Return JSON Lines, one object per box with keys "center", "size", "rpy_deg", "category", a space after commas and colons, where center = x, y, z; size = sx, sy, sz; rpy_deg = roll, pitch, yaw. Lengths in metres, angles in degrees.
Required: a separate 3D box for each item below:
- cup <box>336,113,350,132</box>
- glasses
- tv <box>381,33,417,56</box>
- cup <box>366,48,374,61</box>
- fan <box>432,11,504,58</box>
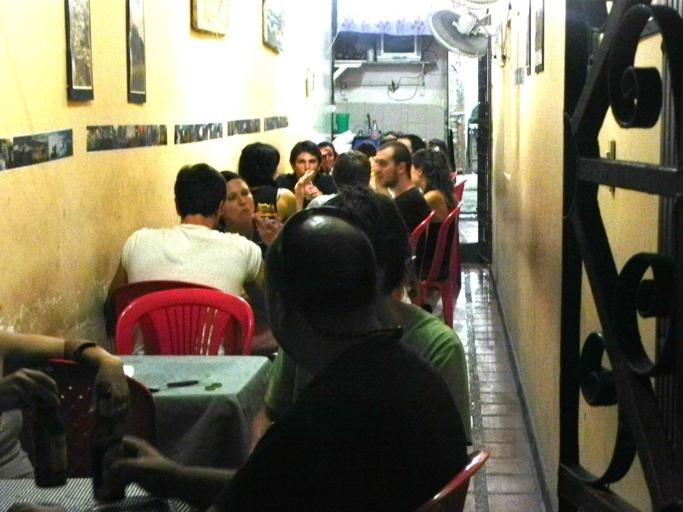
{"center": [0.044, -2.795, 12.201], "size": [0.326, 0.445, 0.352], "rpy_deg": [0, 2, 0], "category": "cup"}
{"center": [-0.049, -0.006, 0.982], "size": [0.090, 0.130, 0.139], "rpy_deg": [2, 31, -2], "category": "glasses"}
{"center": [1.231, -4.476, 12.318], "size": [0.619, 0.426, 0.470], "rpy_deg": [-2, 9, 4], "category": "tv"}
{"center": [0.617, -4.276, 12.405], "size": [0.184, 0.273, 0.113], "rpy_deg": [0, 8, -1], "category": "cup"}
{"center": [1.169, -2.188, 5.679], "size": [0.597, 0.452, 0.330], "rpy_deg": [-3, 9, -22], "category": "fan"}
